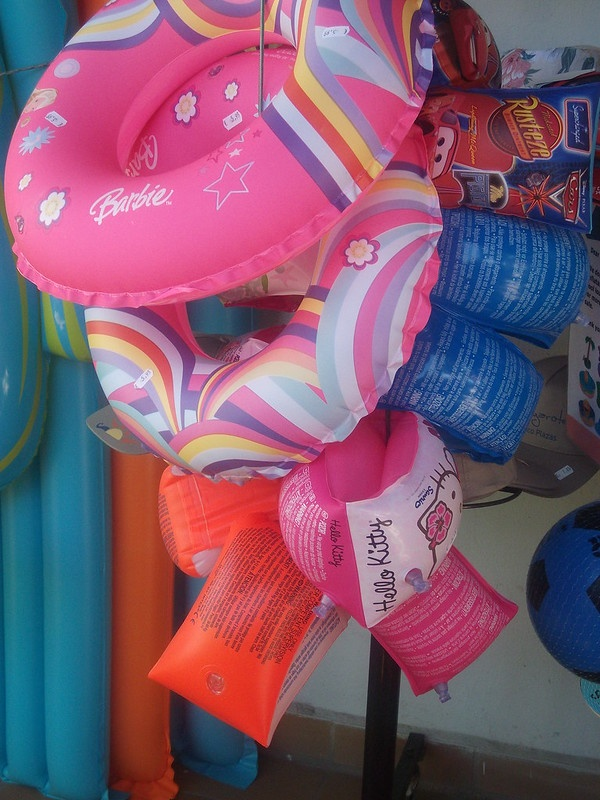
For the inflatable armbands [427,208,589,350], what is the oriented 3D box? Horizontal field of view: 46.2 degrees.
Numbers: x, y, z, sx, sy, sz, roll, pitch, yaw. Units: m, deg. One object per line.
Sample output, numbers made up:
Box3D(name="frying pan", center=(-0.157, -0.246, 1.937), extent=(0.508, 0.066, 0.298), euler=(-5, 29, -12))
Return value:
Box3D(name="inflatable armbands", center=(0.269, -0.175, 1.062), extent=(0.296, 0.242, 0.167), euler=(5, 7, 1))
